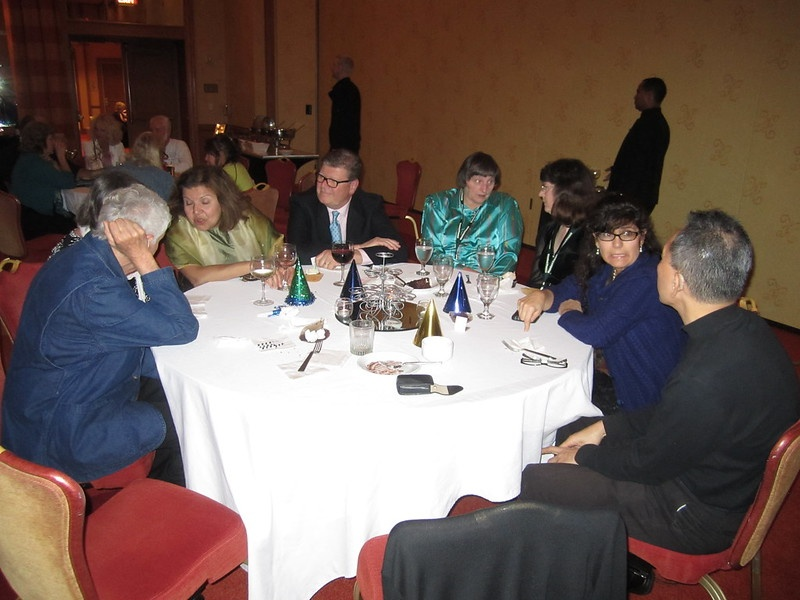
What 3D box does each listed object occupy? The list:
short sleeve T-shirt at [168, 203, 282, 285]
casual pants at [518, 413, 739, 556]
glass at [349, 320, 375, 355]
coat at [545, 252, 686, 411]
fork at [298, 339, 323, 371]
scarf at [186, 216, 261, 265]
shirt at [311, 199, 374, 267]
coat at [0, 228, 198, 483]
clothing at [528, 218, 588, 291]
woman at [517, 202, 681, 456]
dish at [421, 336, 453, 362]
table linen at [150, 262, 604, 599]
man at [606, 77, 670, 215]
[{"bbox_3d":[-1.010,-0.319,3.454,0.699,0.583,0.384,-10,16,-27],"label":"short sleeve T-shirt"},{"bbox_3d":[0.822,0.619,2.192,0.621,0.212,0.397,5,10,19],"label":"casual pants"},{"bbox_3d":[-0.141,0.145,2.377,0.106,0.136,0.121,3,9,13],"label":"glass"},{"bbox_3d":[0.995,0.052,2.889,0.648,0.804,0.565,0,35,5],"label":"coat"},{"bbox_3d":[-0.339,0.205,2.323,0.027,0.032,0.209,-4,31,17],"label":"fork"},{"bbox_3d":[-1.014,-0.336,3.404,0.259,0.273,0.145,-13,-1,-27],"label":"scarf"},{"bbox_3d":[-0.328,-0.434,3.707,0.301,0.458,0.142,-2,8,3],"label":"shirt"},{"bbox_3d":[-1.152,0.244,2.309,0.565,0.831,0.604,41,39,25],"label":"coat"},{"bbox_3d":[0.918,-0.256,3.441,0.237,0.476,0.347,-8,28,-20],"label":"clothing"},{"bbox_3d":[0.866,0.145,2.587,0.727,1.142,0.521,-6,42,6],"label":"woman"},{"bbox_3d":[0.141,0.182,2.346,0.087,0.073,0.102,0,8,-5],"label":"dish"},{"bbox_3d":[-0.231,0.317,2.569,1.194,0.732,1.210,-4,31,-12],"label":"table linen"},{"bbox_3d":[2.141,-1.355,5.307,0.465,1.169,0.522,9,21,18],"label":"man"}]
